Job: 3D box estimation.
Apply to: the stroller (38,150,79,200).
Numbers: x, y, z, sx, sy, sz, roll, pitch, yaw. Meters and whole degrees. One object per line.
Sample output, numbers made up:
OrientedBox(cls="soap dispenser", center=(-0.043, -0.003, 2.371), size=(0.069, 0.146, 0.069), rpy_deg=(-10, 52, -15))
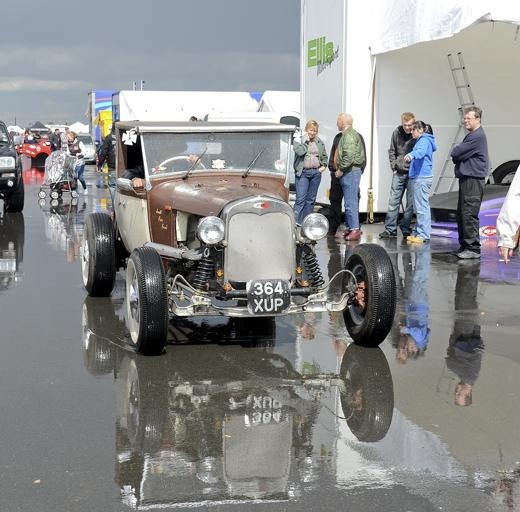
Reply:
OrientedBox(cls="stroller", center=(-6.205, -2.542, 17.759), size=(0.929, 1.547, 1.293), rpy_deg=(-2, 7, -21))

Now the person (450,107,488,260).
OrientedBox(cls="person", center=(3.321, -1.162, 9.175), size=(0.531, 2.428, 0.775), rpy_deg=(3, 7, 24))

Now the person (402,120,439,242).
OrientedBox(cls="person", center=(2.910, -1.338, 10.472), size=(0.473, 2.242, 0.851), rpy_deg=(2, 7, 18))

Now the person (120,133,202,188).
OrientedBox(cls="person", center=(-1.099, -0.995, 5.991), size=(0.371, 0.810, 1.195), rpy_deg=(-6, 9, -26))

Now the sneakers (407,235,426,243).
OrientedBox(cls="sneakers", center=(2.926, -0.326, 10.843), size=(0.115, 0.200, 0.360), rpy_deg=(-4, 7, -33))

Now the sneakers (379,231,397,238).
OrientedBox(cls="sneakers", center=(2.558, -0.433, 11.638), size=(0.354, 0.203, 0.156), rpy_deg=(3, 0, -31))
